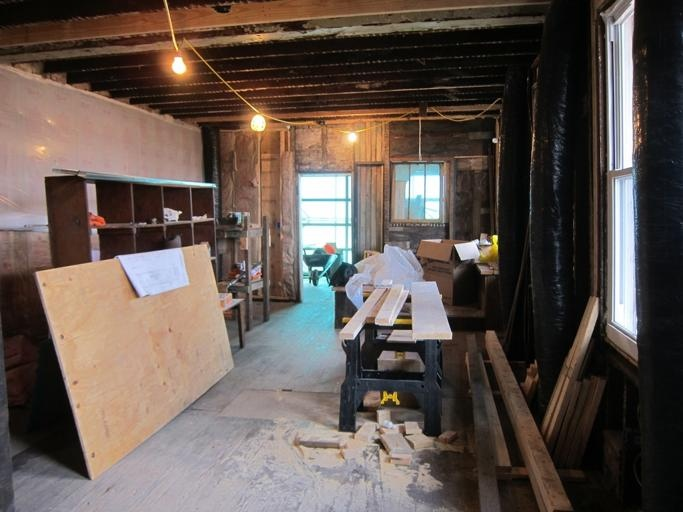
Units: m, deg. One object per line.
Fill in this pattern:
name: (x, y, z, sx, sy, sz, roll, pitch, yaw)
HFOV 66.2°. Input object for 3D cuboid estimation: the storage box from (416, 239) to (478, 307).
storage box: (1.417, 0.089, 7.058, 0.764, 0.859, 1.136, -6, 9, -23)

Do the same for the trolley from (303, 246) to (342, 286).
trolley: (-0.350, 0.175, 10.071, 0.505, 0.480, 1.006, -2, -16, 5)
